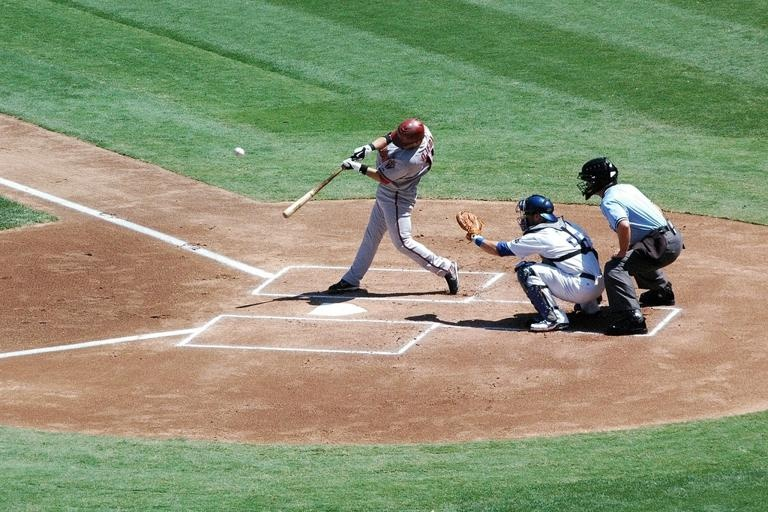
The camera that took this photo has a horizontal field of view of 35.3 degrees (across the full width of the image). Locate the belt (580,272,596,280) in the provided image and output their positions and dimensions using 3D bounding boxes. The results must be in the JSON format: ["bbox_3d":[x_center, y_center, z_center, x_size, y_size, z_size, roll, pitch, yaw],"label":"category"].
[{"bbox_3d":[2.784,0.274,16.466,0.139,0.026,0.134,10,-2,42],"label":"belt"}]

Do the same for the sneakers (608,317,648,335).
[{"bbox_3d":[3.285,0.949,16.248,0.583,0.232,0.202,1,20,2],"label":"sneakers"}]

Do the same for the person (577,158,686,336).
[{"bbox_3d":[3.493,-0.126,16.597,1.119,2.355,1.093,1,10,-32],"label":"person"}]

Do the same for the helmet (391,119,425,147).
[{"bbox_3d":[0.349,-1.739,17.266,0.467,0.406,0.255,5,8,-1],"label":"helmet"}]

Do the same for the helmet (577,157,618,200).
[{"bbox_3d":[3.017,-1.089,16.766,0.632,0.436,0.485,-7,8,36],"label":"helmet"}]

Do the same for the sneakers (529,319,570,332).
[{"bbox_3d":[2.308,0.952,16.544,0.589,0.159,0.170,0,8,-5],"label":"sneakers"}]

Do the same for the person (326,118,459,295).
[{"bbox_3d":[0.207,-0.689,17.590,1.783,2.601,0.572,5,9,-3],"label":"person"}]

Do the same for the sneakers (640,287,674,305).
[{"bbox_3d":[3.871,0.587,17.003,0.543,0.253,0.196,7,41,14],"label":"sneakers"}]

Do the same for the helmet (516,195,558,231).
[{"bbox_3d":[2.177,-0.590,16.761,0.686,0.384,0.452,-2,5,24],"label":"helmet"}]
